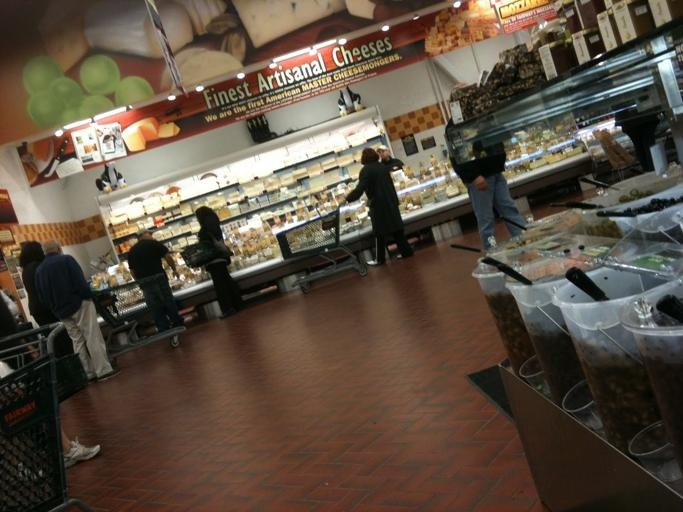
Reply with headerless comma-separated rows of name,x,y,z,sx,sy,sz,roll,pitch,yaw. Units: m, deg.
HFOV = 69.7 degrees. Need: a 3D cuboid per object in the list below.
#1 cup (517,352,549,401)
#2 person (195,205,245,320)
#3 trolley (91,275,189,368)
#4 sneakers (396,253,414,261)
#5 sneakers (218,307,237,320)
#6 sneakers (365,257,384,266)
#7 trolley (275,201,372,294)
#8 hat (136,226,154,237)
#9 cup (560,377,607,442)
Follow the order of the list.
cup,0.618,0.385,1.575,0.087,0.072,0.092,-32,-8,-5
person,-2.093,0.072,8.421,0.673,1.513,0.400,-4,2,-13
trolley,-2.957,0.946,7.796,1.544,1.284,0.958,-22,-18,14
sneakers,1.029,0.013,8.147,0.277,0.107,0.094,-7,3,40
sneakers,-1.961,0.973,8.410,0.261,0.091,0.141,-10,8,-2
sneakers,0.594,0.099,8.489,0.321,0.210,0.106,-4,4,37
trolley,-0.438,-0.194,8.646,1.422,1.280,0.830,-16,15,-13
hat,-3.856,-0.481,9.572,0.252,0.170,0.349,8,17,36
cup,0.659,0.409,1.336,0.114,0.117,0.113,-39,14,12
